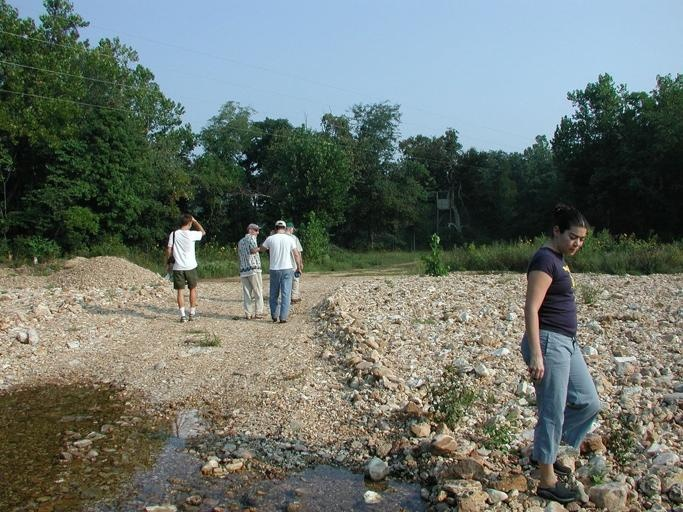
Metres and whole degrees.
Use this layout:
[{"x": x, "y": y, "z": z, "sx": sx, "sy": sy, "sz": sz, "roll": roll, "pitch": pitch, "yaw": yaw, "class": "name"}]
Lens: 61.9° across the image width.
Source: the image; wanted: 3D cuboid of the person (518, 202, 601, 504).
[{"x": 2.405, "y": 1.100, "z": 6.368, "sx": 0.834, "sy": 3.287, "sz": 0.513, "roll": -5, "pitch": 9, "yaw": -24, "class": "person"}]

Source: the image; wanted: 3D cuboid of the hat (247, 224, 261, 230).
[{"x": -1.936, "y": -0.644, "z": 12.622, "sx": 0.236, "sy": 0.144, "sz": 0.366, "roll": 3, "pitch": 6, "yaw": 12, "class": "hat"}]

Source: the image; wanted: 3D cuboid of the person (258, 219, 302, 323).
[{"x": -1.302, "y": 0.304, "z": 12.354, "sx": 0.792, "sy": 2.152, "sz": 0.975, "roll": -3, "pitch": 8, "yaw": -5, "class": "person"}]

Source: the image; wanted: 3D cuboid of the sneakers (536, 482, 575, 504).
[{"x": 2.438, "y": 2.664, "z": 6.453, "sx": 0.343, "sy": 0.159, "sz": 0.207, "roll": 2, "pitch": 11, "yaw": 15, "class": "sneakers"}]
